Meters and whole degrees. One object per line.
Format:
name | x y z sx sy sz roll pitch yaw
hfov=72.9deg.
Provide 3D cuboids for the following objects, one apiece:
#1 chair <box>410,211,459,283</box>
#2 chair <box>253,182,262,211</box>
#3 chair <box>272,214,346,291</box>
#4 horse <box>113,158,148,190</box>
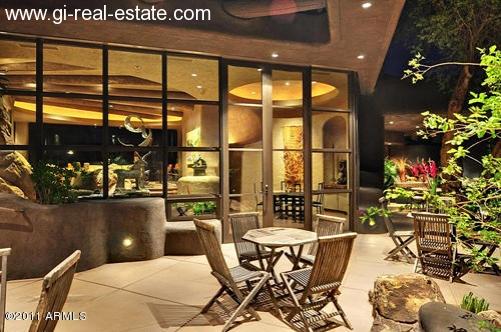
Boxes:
chair | 3.346 1.411 6.189 0.794 1.288 0.703 6 12 30
chair | 0.198 0.760 8.274 0.226 0.693 0.115 -3 11 -18
chair | 1.017 1.301 5.901 1.172 1.321 0.872 6 -7 -19
horse | -2.632 0.185 7.578 0.801 0.671 0.238 -2 4 4
